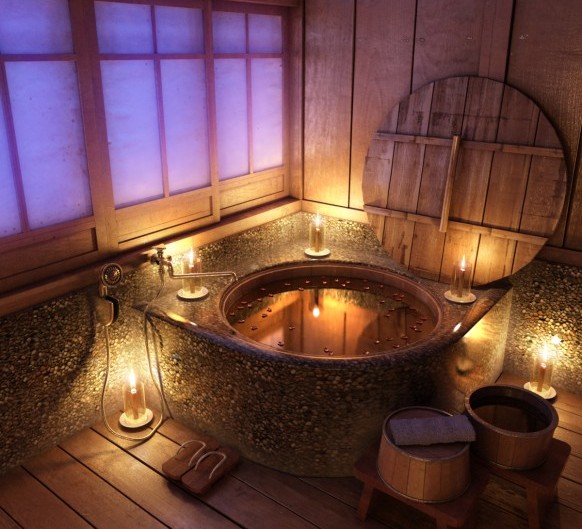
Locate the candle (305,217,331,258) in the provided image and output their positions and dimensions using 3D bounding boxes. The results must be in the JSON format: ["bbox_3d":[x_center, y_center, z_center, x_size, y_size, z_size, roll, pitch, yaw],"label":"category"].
[{"bbox_3d":[0.163,-0.180,2.663,0.149,0.207,0.298,3,20,2],"label":"candle"}]

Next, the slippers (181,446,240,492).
[{"bbox_3d":[-0.314,0.768,1.741,0.135,0.062,0.260,20,21,21],"label":"slippers"}]

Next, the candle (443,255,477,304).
[{"bbox_3d":[0.840,0.054,2.189,0.145,0.189,0.298,11,21,22],"label":"candle"}]

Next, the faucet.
[{"bbox_3d":[-0.431,-0.001,2.026,0.408,0.163,0.091,-1,9,12],"label":"faucet"}]

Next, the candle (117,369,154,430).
[{"bbox_3d":[-0.715,0.619,2.016,0.149,0.146,0.187,0,61,-14],"label":"candle"}]

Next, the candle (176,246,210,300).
[{"bbox_3d":[-0.465,0.040,2.170,0.221,0.230,0.212,0,13,-2],"label":"candle"}]

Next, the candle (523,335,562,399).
[{"bbox_3d":[1.235,0.501,2.188,0.147,0.275,0.227,15,24,32],"label":"candle"}]

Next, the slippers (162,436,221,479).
[{"bbox_3d":[-0.410,0.757,1.780,0.092,0.028,0.170,7,21,23],"label":"slippers"}]
